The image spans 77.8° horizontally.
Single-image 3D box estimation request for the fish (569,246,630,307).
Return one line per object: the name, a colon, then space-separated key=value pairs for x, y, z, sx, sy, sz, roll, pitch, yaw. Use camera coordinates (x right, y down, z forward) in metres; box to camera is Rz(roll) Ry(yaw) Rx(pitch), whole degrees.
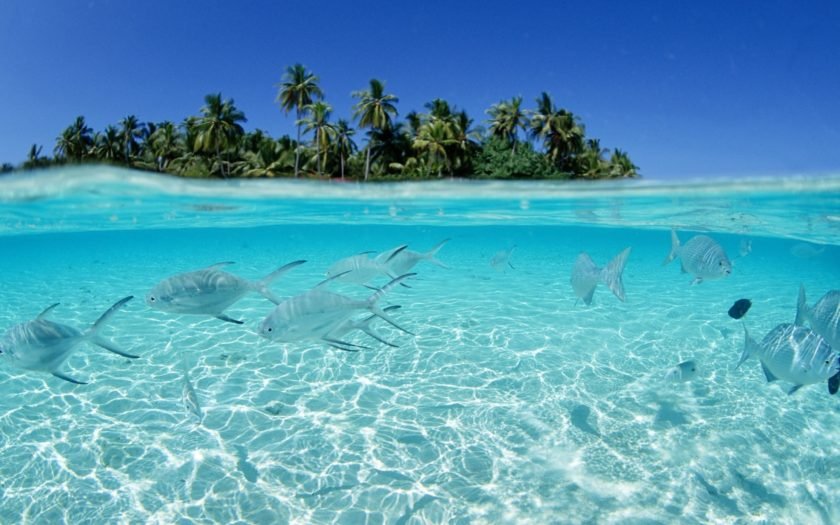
fish: x=3.179 y=0.266 z=9.438 sx=0.350 sy=0.956 sz=1.576 roll=3 pitch=-2 yaw=-27
